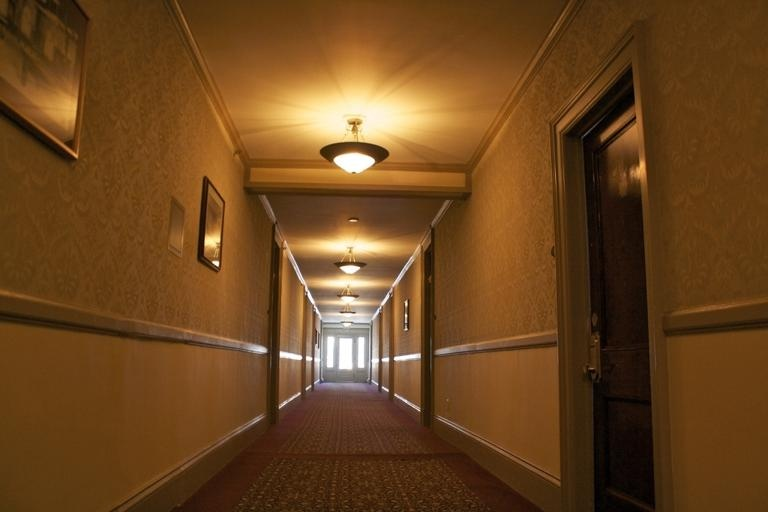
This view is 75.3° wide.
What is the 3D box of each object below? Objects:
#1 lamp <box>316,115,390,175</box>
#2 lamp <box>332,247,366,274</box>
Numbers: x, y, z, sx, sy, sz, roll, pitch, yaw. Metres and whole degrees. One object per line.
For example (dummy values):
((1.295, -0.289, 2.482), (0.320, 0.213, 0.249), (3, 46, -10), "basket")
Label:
((-0.324, -1.251, 5.854), (0.614, 0.500, 0.661), (0, -12, 5), "lamp")
((-0.770, 0.119, 11.271), (0.603, 0.516, 0.649), (2, -12, 1), "lamp")
